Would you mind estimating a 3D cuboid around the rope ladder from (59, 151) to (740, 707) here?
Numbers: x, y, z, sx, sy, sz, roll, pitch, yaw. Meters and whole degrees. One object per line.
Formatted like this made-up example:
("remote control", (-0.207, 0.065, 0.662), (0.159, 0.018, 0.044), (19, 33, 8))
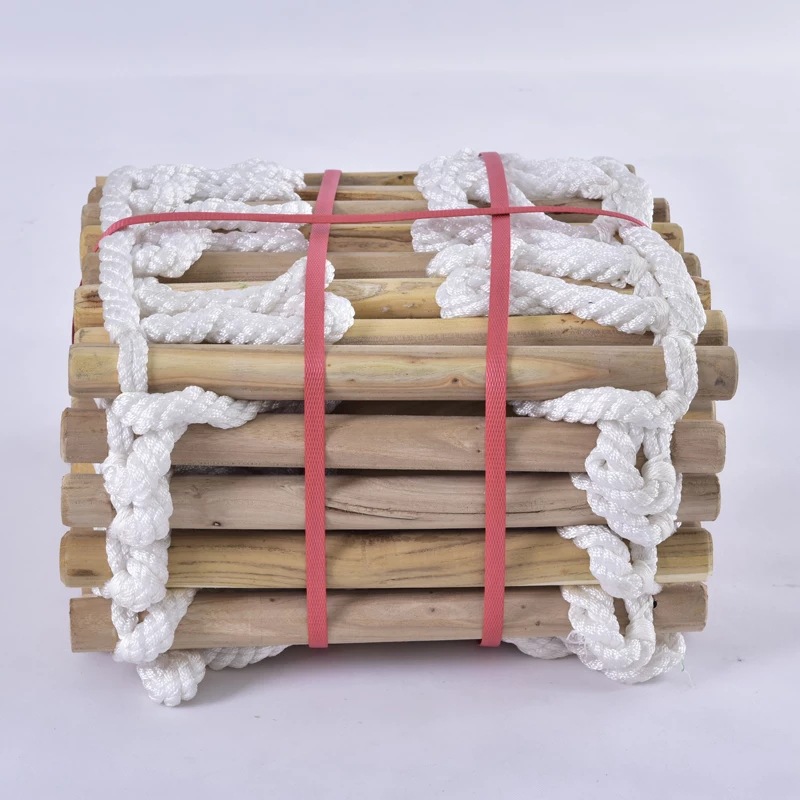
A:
("rope ladder", (-0.047, 0.141, 3.024), (1.486, 1.014, 0.561), (10, 38, -9))
